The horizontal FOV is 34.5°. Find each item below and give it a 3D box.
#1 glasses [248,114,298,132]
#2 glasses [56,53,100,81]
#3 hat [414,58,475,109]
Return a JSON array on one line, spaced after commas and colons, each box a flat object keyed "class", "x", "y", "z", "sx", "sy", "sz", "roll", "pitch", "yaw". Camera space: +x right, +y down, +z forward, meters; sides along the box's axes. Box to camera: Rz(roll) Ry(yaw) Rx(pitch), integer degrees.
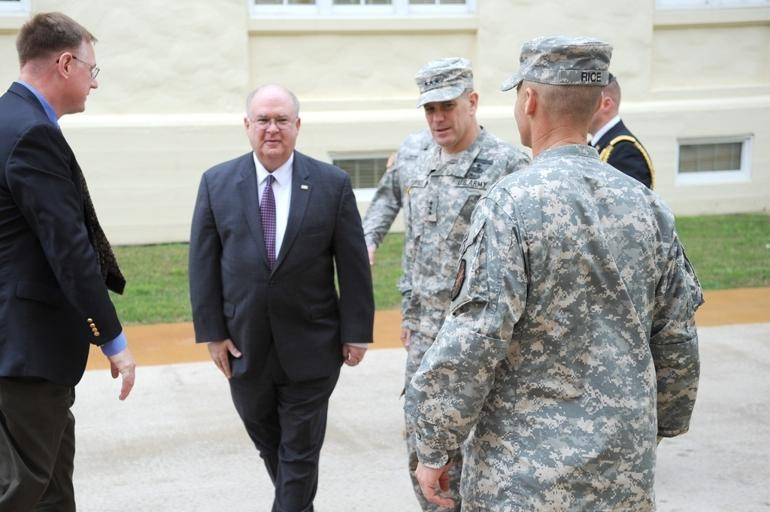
[{"class": "glasses", "x": -0.836, "y": -1.012, "z": 9.405, "sx": 0.367, "sy": 0.099, "sz": 0.150, "roll": -3, "pitch": 14, "yaw": -7}, {"class": "glasses", "x": -2.241, "y": -1.374, "z": 9.107, "sx": 0.242, "sy": 0.068, "sz": 0.229, "roll": 23, "pitch": -2, "yaw": 7}, {"class": "hat", "x": 0.436, "y": -1.414, "z": 9.785, "sx": 0.424, "sy": 0.271, "sz": 0.563, "roll": -11, "pitch": 19, "yaw": 8}]
